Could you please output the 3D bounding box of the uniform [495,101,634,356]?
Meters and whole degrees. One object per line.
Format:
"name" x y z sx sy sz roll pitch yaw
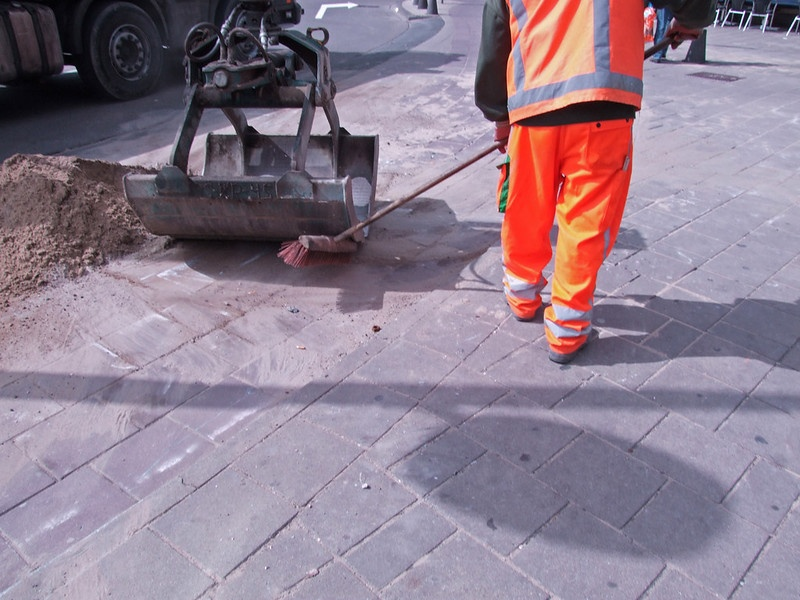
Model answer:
"uniform" 0.927 -0.512 3.703 0.638 1.558 0.470 13 41 22
